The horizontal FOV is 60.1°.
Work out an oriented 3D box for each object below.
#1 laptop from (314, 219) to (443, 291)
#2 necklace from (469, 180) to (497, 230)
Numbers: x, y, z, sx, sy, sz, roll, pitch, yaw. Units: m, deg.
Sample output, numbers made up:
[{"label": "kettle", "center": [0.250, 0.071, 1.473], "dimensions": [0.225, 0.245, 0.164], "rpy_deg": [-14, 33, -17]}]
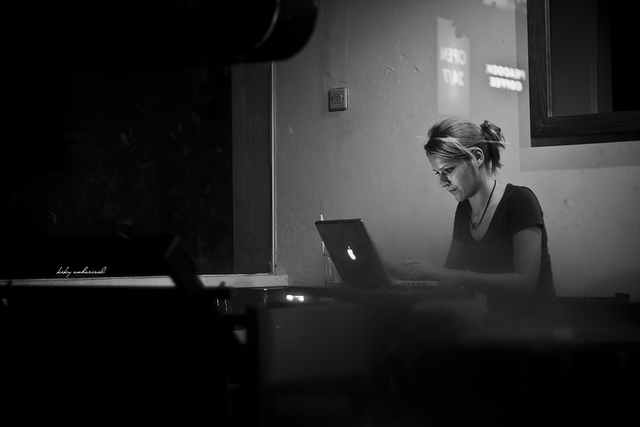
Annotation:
[{"label": "laptop", "center": [0.219, 0.137, 1.889], "dimensions": [0.430, 0.223, 0.437], "rpy_deg": [-5, -5, 43]}, {"label": "necklace", "center": [0.649, -0.030, 2.189], "dimensions": [0.065, 0.188, 0.093], "rpy_deg": [7, 0, 10]}]
